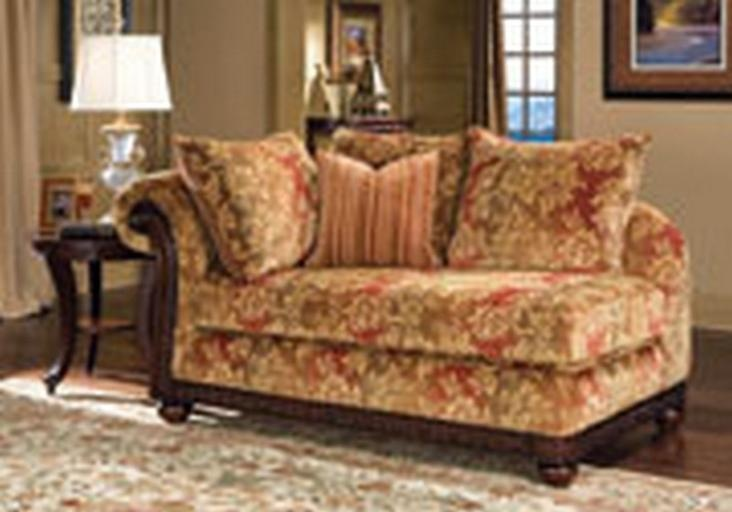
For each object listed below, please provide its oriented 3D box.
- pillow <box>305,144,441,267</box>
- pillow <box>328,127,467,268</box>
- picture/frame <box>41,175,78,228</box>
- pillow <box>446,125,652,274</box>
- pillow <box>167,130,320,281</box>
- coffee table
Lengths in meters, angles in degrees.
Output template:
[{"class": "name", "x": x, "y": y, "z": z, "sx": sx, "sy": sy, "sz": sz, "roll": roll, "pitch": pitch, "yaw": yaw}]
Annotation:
[{"class": "pillow", "x": 0.032, "y": -0.178, "z": 3.102, "sx": 0.459, "sy": 0.424, "sz": 0.157, "roll": 0, "pitch": -10, "yaw": 7}, {"class": "pillow", "x": 0.133, "y": -0.199, "z": 3.441, "sx": 0.240, "sy": 0.818, "sz": 0.864, "roll": 10, "pitch": -14, "yaw": -24}, {"class": "picture/frame", "x": -2.338, "y": -0.383, "z": 6.013, "sx": 0.306, "sy": 0.540, "sz": 0.047, "roll": -3, "pitch": 34, "yaw": -22}, {"class": "pillow", "x": 0.665, "y": -0.223, "z": 2.980, "sx": 0.742, "sy": 0.564, "sz": 0.282, "roll": 8, "pitch": 9, "yaw": 40}, {"class": "pillow", "x": -0.523, "y": -0.200, "z": 3.036, "sx": 0.172, "sy": 0.556, "sz": 0.580, "roll": -20, "pitch": 1, "yaw": 37}, {"class": "coffee table", "x": -1.118, "y": 0.235, "z": 3.500, "sx": 0.636, "sy": 0.685, "sz": 0.641, "roll": -1, "pitch": -1, "yaw": 31}]
